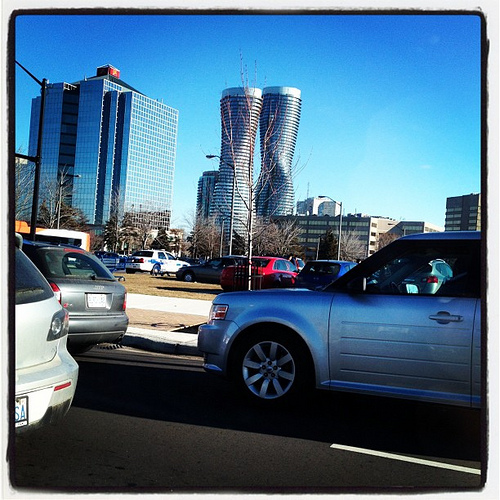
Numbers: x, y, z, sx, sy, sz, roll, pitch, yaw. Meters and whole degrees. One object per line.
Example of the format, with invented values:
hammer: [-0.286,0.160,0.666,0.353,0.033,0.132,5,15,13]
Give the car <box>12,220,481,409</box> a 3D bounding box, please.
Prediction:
car: [0.949,0.624,4.942,2.624,1.409,1.511,3,-3,16]
